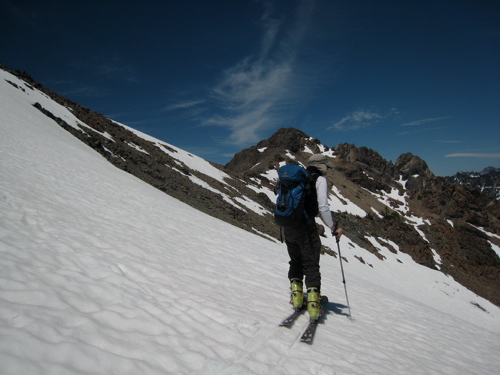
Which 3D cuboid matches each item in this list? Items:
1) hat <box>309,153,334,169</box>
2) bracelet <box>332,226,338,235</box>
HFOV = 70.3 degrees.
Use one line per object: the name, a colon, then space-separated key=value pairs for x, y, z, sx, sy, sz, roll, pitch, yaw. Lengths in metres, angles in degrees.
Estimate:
hat: x=1.831 y=-0.689 z=9.281 sx=0.629 sy=0.283 sz=0.396 roll=-2 pitch=3 yaw=-19
bracelet: x=2.151 y=1.093 z=9.092 sx=0.139 sy=0.207 sz=0.159 roll=-3 pitch=3 yaw=-22
